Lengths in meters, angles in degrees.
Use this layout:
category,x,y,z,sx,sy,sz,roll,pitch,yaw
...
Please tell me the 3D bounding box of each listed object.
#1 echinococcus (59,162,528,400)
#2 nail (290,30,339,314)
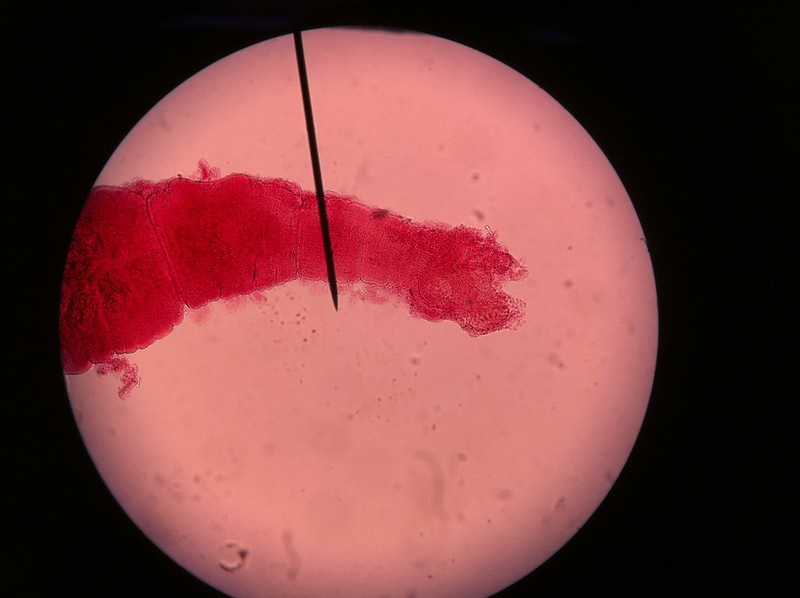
category,x,y,z,sx,sy,sz,roll,pitch,yaw
echinococcus,-0.294,-0.061,2.204,1.188,0.128,0.551,-2,74,-8
nail,-0.209,-0.313,2.176,0.025,0.087,0.674,-8,82,-5
